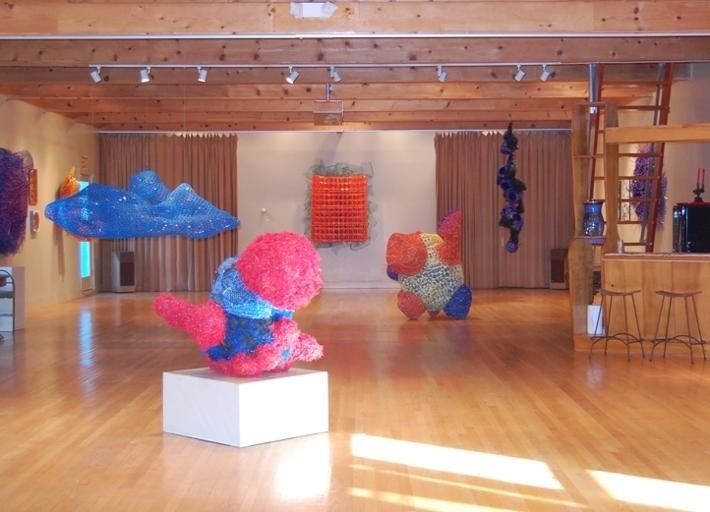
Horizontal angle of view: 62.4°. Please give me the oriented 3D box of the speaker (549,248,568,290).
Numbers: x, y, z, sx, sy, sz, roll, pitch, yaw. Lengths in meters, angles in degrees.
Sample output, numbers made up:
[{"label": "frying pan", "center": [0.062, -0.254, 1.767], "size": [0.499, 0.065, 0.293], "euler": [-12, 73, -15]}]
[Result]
[{"label": "speaker", "center": [4.137, 0.269, 11.938], "size": [0.344, 0.806, 0.130], "euler": [3, 6, 21]}]

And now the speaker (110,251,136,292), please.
[{"label": "speaker", "center": [-4.847, 0.336, 12.162], "size": [0.514, 0.862, 0.379], "euler": [0, 5, -5]}]
